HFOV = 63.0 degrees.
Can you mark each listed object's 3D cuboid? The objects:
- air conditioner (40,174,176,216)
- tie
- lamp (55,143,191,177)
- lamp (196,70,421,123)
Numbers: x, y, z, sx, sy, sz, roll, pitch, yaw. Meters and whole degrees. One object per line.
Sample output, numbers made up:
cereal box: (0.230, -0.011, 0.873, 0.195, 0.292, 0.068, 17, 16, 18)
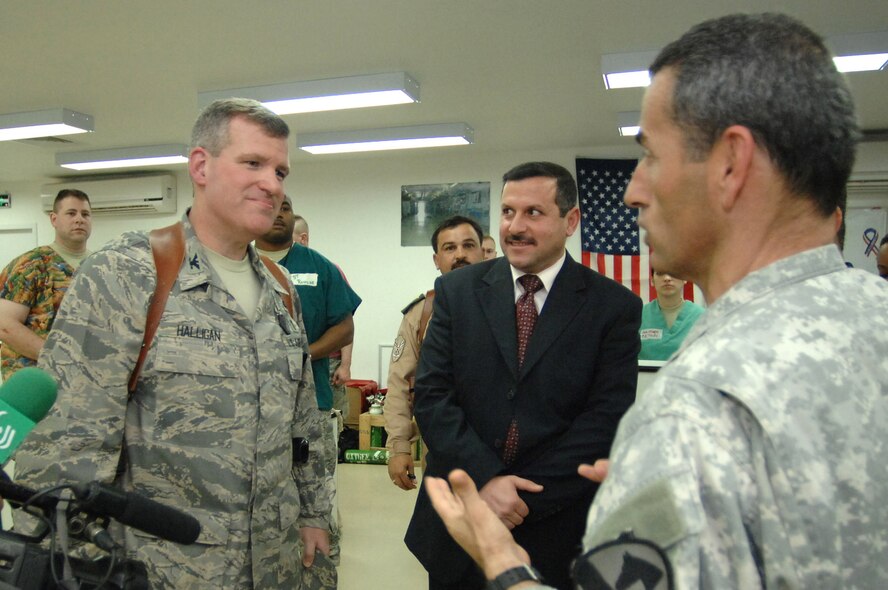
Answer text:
air conditioner: (-3.964, -1.290, 8.849, 1.985, 0.522, 0.527, -4, 13, 7)
tie: (0.277, 0.264, 2.729, 0.123, 0.733, 0.126, 4, -19, 18)
lamp: (-3.371, -1.615, 8.187, 1.245, 0.210, 0.208, -2, 6, 11)
lamp: (-0.972, -1.514, 5.229, 1.152, 0.124, 0.202, -2, -19, 15)
